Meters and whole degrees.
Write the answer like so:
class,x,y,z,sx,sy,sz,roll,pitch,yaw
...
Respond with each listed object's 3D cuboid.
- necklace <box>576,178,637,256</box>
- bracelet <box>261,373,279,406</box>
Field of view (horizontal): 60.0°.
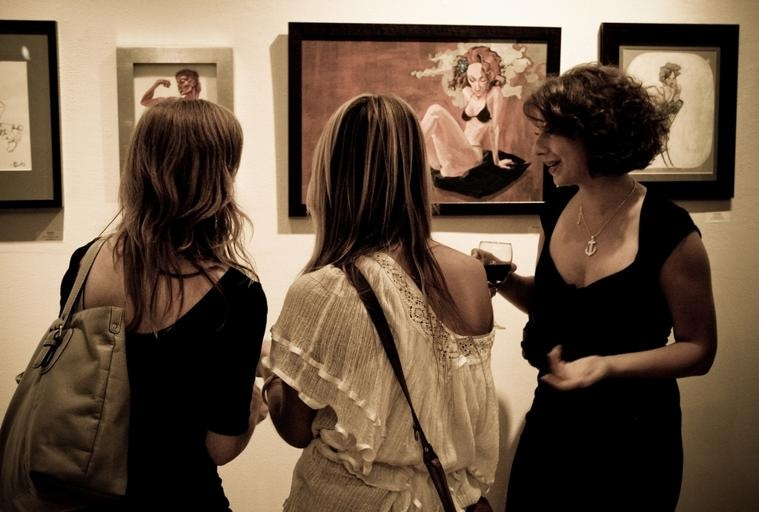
class,x,y,z,sx,sy,sz,roll,pitch,yaw
necklace,0.844,-0.137,2.461,0.179,0.307,0.028,23,-7,43
bracelet,-0.384,0.442,2.228,0.084,0.084,0.021,-19,-20,38
